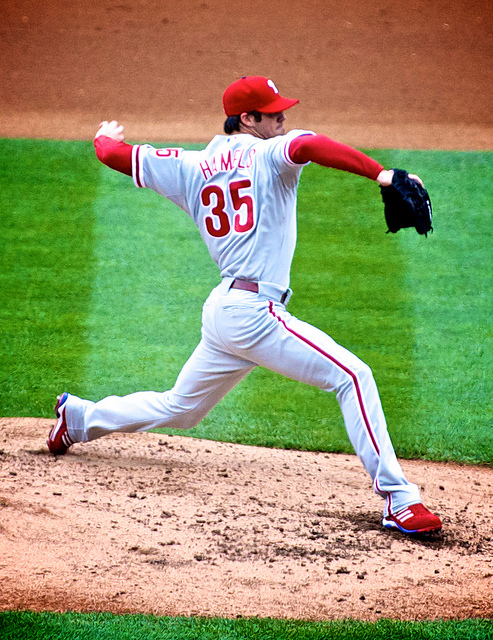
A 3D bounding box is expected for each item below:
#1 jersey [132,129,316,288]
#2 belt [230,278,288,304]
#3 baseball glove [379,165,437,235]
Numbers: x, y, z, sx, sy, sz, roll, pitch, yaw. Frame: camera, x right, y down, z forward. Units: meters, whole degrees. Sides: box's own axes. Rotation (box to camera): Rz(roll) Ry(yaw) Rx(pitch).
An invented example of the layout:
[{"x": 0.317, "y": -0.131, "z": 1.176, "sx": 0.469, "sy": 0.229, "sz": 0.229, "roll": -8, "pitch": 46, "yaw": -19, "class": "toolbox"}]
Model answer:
[{"x": -0.164, "y": -0.551, "z": 4.880, "sx": 1.427, "sy": 0.778, "sz": 0.350, "roll": -15, "pitch": 23, "yaw": -39, "class": "jersey"}, {"x": 0.034, "y": -0.151, "z": 4.732, "sx": 0.162, "sy": 0.119, "sz": 0.034, "roll": 15, "pitch": 87, "yaw": 17, "class": "belt"}, {"x": 0.793, "y": -0.549, "z": 4.704, "sx": 0.341, "sy": 0.364, "sz": 0.153, "roll": 9, "pitch": 36, "yaw": 38, "class": "baseball glove"}]
